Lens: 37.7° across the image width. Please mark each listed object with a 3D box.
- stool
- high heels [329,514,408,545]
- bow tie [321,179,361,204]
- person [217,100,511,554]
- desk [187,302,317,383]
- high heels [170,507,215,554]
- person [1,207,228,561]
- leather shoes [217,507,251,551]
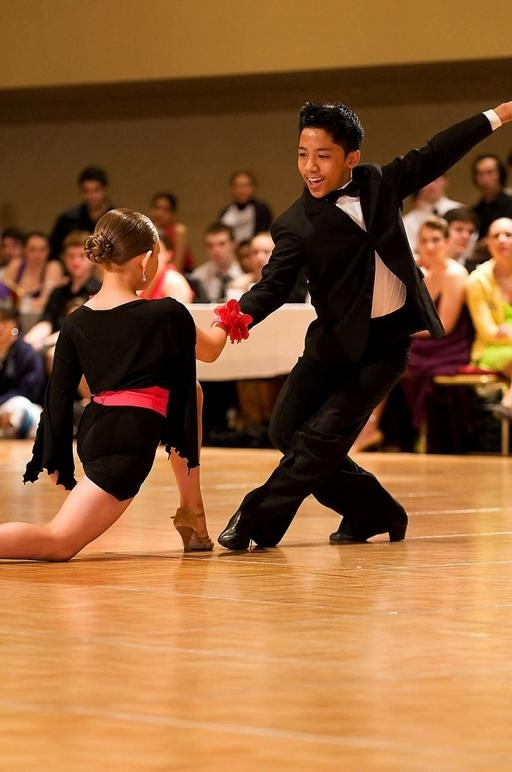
[{"bbox_3d":[1.603,0.213,5.798,0.809,0.653,0.593,-4,-9,26],"label":"stool"},{"bbox_3d":[0.376,0.478,2.537,0.318,0.110,0.098,1,-5,4],"label":"high heels"},{"bbox_3d":[0.272,-0.608,2.331,0.112,0.080,0.037,-1,-2,-14],"label":"bow tie"},{"bbox_3d":[0.293,-0.182,2.418,0.858,1.373,0.317,-1,-2,-5],"label":"person"},{"bbox_3d":[0.058,-0.348,6.137,0.808,0.354,0.743,-1,6,7],"label":"desk"},{"bbox_3d":[-0.188,0.445,2.288,0.077,0.116,0.199,1,5,15],"label":"high heels"},{"bbox_3d":[-0.400,0.130,2.164,0.648,0.749,0.262,-1,-2,-16],"label":"person"},{"bbox_3d":[-0.065,0.438,2.296,0.085,0.118,0.121,19,-25,17],"label":"leather shoes"}]
